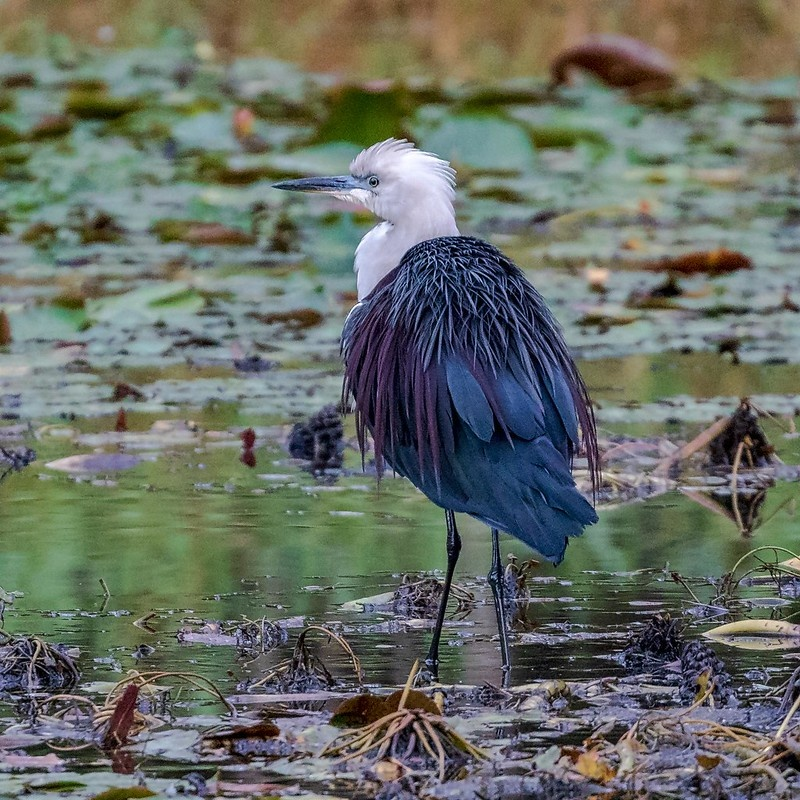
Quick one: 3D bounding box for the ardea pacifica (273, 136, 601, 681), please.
[{"bbox_3d":[0.192,-0.072,4.696,0.743,1.727,1.207,-5,0,-10],"label":"ardea pacifica"}]
